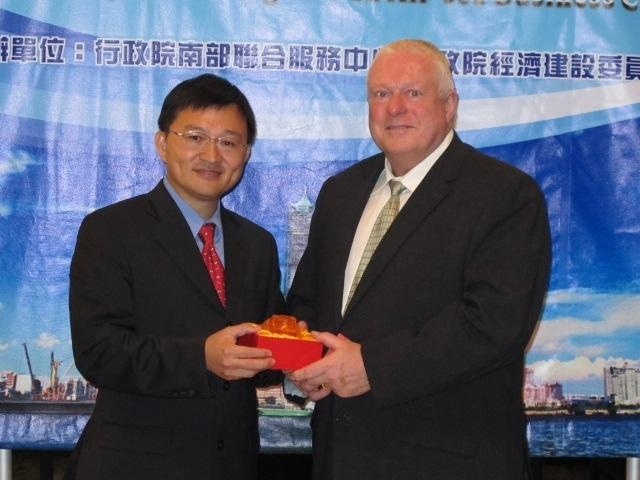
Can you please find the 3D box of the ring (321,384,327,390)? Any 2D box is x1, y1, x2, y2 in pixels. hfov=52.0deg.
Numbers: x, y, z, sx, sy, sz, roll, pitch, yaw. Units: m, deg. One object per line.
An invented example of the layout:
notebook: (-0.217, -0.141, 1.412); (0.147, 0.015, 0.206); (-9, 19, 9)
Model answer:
ring: (0.013, 0.601, 2.697); (0.007, 0.026, 0.025); (-25, 14, -21)

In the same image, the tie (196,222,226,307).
tie: (-0.470, 0.082, 2.849); (0.083, 0.377, 0.041); (-2, -43, -23)

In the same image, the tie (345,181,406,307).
tie: (0.231, 0.039, 2.692); (0.088, 0.561, 0.057); (22, -16, 22)
